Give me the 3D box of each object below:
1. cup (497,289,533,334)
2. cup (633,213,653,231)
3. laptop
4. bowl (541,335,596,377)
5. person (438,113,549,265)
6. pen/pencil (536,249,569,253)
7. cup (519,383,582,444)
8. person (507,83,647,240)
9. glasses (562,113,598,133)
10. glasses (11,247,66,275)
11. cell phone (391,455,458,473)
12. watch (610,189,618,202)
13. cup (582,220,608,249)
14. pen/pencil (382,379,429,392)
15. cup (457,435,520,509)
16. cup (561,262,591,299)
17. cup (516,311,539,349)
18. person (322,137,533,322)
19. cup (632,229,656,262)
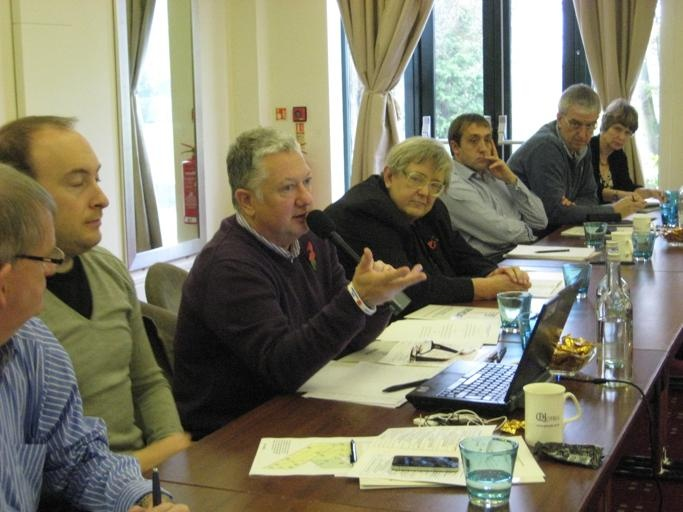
[{"bbox_3d":[0.608,0.187,2.053,0.116,0.140,0.124,-4,14,1],"label":"cup"},{"bbox_3d":[1.620,-0.178,3.149,0.098,0.104,0.098,-1,6,0],"label":"cup"},{"bbox_3d":[0.392,0.240,1.535,0.404,0.247,0.443,-1,3,44],"label":"laptop"},{"bbox_3d":[0.629,0.299,1.672,0.156,0.079,0.171,2,-8,0],"label":"bowl"},{"bbox_3d":[1.001,-0.379,3.889,0.617,1.156,0.643,-15,13,-4],"label":"person"},{"bbox_3d":[1.193,-0.026,3.280,0.186,0.021,0.019,1,2,-10],"label":"pen/pencil"},{"bbox_3d":[0.464,0.347,1.276,0.122,0.126,0.081,-2,-3,14],"label":"cup"},{"bbox_3d":[1.754,-0.700,4.578,0.664,1.183,1.082,-5,18,-6],"label":"person"},{"bbox_3d":[1.809,-1.015,4.442,0.264,0.154,0.146,-4,4,18],"label":"glasses"},{"bbox_3d":[-0.591,0.009,1.128,0.067,0.021,0.065,3,10,-20],"label":"glasses"},{"bbox_3d":[0.171,0.425,1.186,0.136,0.024,0.039,-5,4,4],"label":"cell phone"},{"bbox_3d":[2.291,-0.522,4.913,0.027,0.079,0.077,2,-3,-10],"label":"watch"},{"bbox_3d":[1.488,-0.125,3.426,0.143,0.165,0.151,1,-2,0],"label":"cup"},{"bbox_3d":[0.174,0.351,1.564,0.171,0.020,0.018,-5,5,-33],"label":"pen/pencil"},{"bbox_3d":[0.265,0.393,1.103,0.111,0.112,0.122,-2,0,-3],"label":"cup"},{"bbox_3d":[0.870,0.092,2.155,0.128,0.153,0.131,-1,-4,0],"label":"cup"},{"bbox_3d":[0.615,0.250,1.919,0.071,0.116,0.072,-2,-2,0],"label":"cup"},{"bbox_3d":[0.394,-0.190,2.828,0.822,0.778,1.107,-9,14,-39],"label":"person"},{"bbox_3d":[1.569,-0.057,3.044,0.139,0.173,0.146,1,-3,0],"label":"cup"}]
